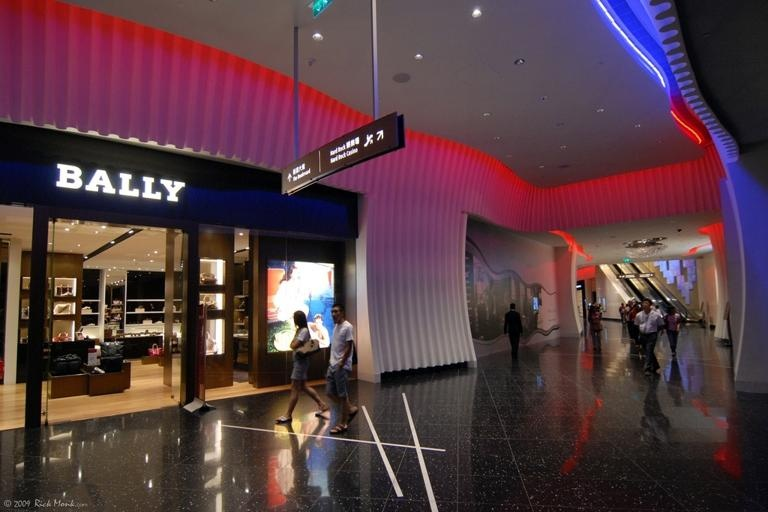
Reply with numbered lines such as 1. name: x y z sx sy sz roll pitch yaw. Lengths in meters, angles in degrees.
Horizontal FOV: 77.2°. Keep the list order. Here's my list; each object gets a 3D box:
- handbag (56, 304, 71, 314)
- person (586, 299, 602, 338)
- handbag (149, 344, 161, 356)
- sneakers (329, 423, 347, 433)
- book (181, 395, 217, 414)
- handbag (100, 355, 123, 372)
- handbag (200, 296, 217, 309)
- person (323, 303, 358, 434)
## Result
1. handbag: -7.246 1.211 10.858 0.205 0.187 0.169 -2 12 -25
2. person: 6.582 2.028 15.013 0.293 0.794 0.792 -1 0 19
3. handbag: -6.542 2.711 13.738 0.231 0.240 0.141 3 -25 -28
4. sneakers: -0.713 2.688 7.570 0.272 0.124 0.373 -1 0 -1
5. book: -3.384 2.707 8.686 0.622 0.162 0.418 -1 0 15
6. handbag: -5.604 2.214 9.927 0.472 0.348 0.272 2 -20 -21
7. handbag: -3.643 0.972 9.945 0.224 0.212 0.118 7 -18 -35
8. person: -0.714 1.779 8.136 0.473 1.947 1.470 -1 0 -3
